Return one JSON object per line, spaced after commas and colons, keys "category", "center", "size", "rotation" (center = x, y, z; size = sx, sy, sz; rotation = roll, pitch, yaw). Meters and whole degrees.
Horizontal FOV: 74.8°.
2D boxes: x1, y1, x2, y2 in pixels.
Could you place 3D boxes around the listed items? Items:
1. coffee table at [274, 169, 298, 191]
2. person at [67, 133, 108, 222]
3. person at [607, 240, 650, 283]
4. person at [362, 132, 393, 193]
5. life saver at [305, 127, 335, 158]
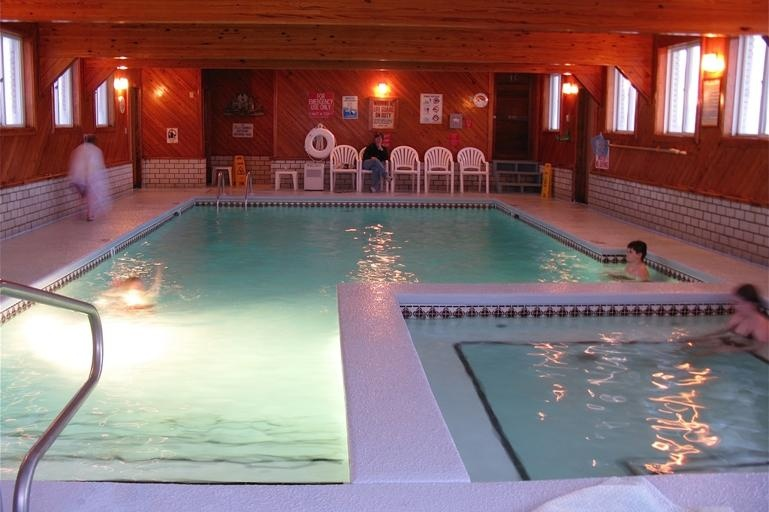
{"category": "coffee table", "center": [-3.145, -2.359, 16.071], "size": [0.855, 0.716, 0.807], "rotation": [-1, 8, -5]}
{"category": "person", "center": [-6.066, -1.532, 10.365], "size": [0.559, 1.526, 0.706], "rotation": [10, 16, 43]}
{"category": "person", "center": [3.533, 0.056, 7.267], "size": [0.514, 0.498, 0.717], "rotation": [-4, 12, 17]}
{"category": "person", "center": [-0.187, -2.939, 15.934], "size": [0.700, 1.769, 0.967], "rotation": [9, 14, 38]}
{"category": "life saver", "center": [-2.058, -3.597, 16.057], "size": [0.963, 1.012, 0.754], "rotation": [-1, 11, -4]}
